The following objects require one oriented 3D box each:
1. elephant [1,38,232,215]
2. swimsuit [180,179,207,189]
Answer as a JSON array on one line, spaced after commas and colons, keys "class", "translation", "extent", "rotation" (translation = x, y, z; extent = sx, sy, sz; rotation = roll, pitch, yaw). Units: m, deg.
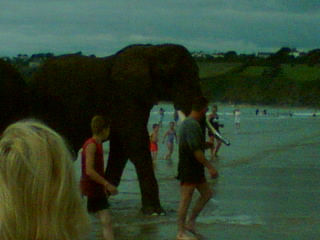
[{"class": "elephant", "translation": [-0.777, -0.085, 8.871], "extent": [3.583, 2.665, 1.670], "rotation": [0, 4, -17]}, {"class": "swimsuit", "translation": [0.436, 0.799, 7.831], "extent": [0.337, 0.124, 0.142], "rotation": [-1, 4, -10]}]
